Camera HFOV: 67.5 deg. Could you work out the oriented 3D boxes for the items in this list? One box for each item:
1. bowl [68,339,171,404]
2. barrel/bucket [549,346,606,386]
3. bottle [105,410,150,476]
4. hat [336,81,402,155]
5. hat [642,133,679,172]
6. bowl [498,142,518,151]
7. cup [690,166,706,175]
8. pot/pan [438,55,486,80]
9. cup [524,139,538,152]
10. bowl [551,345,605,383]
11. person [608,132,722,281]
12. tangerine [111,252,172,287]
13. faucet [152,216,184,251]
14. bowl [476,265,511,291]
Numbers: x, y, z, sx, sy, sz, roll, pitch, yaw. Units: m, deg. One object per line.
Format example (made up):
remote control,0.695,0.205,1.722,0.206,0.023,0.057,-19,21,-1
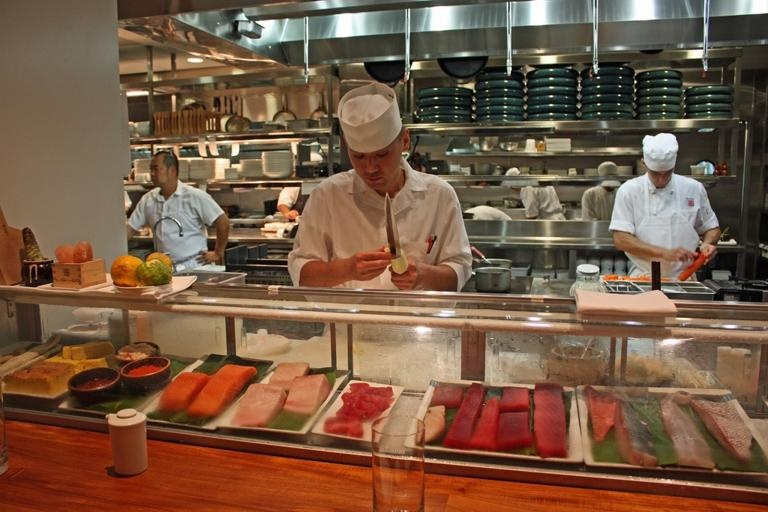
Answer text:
bowl,-0.909,0.420,2.062,0.359,0.106,0.210,-4,17,-22
barrel/bucket,0.614,0.350,1.845,0.161,0.134,0.091,9,12,9
bottle,-0.836,0.601,1.875,0.153,0.206,0.097,3,5,3
hat,-0.051,-0.612,2.507,0.282,0.344,0.273,2,5,-8
hat,1.877,-0.709,3.924,0.203,0.263,0.188,5,5,24
bowl,1.243,-1.100,5.743,0.155,0.066,0.141,0,4,-12
cup,2.836,-0.777,5.221,0.159,0.080,0.142,0,3,3
pot/pan,0.593,-1.432,4.303,0.362,0.192,0.198,3,5,3
cup,1.444,-1.093,5.681,0.172,0.126,0.253,1,4,8
bowl,0.614,0.349,1.845,0.173,0.105,0.068,2,7,10
person,2.045,-0.342,3.965,0.655,0.982,0.610,1,5,-21
tangerine,-0.876,0.048,2.097,0.187,0.083,0.126,1,1,-9
faucet,-1.881,-0.194,4.988,0.340,0.316,0.273,3,5,5
bowl,0.635,0.129,3.398,0.176,0.089,0.160,0,2,3
